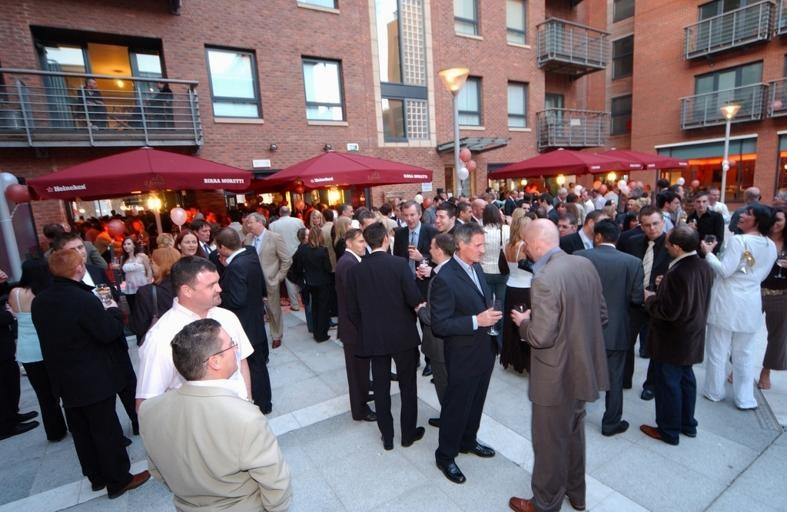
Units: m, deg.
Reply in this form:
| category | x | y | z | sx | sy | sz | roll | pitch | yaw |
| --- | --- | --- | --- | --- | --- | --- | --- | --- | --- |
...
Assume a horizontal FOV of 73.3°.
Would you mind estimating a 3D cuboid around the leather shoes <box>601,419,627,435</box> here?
| category | x | y | z | sx | sy | sz | roll | pitch | yaw |
| --- | --- | --- | --- | --- | --- | --- | --- | --- | --- |
| leather shoes | 3.769 | 2.912 | 9.071 | 0.524 | 0.229 | 0.184 | -13 | 11 | -19 |

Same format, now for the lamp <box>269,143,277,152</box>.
| category | x | y | z | sx | sy | sz | roll | pitch | yaw |
| --- | --- | --- | --- | --- | --- | --- | --- | --- | --- |
| lamp | -3.787 | -3.436 | 16.672 | 0.236 | 0.228 | 0.136 | -1 | 5 | -38 |

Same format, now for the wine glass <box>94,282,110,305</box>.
| category | x | y | z | sx | sy | sz | roll | pitch | yaw |
| --- | --- | --- | --- | --- | --- | --- | --- | --- | --- |
| wine glass | -4.717 | 0.647 | 8.577 | 0.288 | 0.368 | 0.146 | 0 | 13 | 20 |

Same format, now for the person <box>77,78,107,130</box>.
| category | x | y | z | sx | sy | sz | roll | pitch | yaw |
| --- | --- | --- | --- | --- | --- | --- | --- | --- | --- |
| person | -8.270 | -4.214 | 14.485 | 0.677 | 1.478 | 1.505 | -11 | 13 | -28 |

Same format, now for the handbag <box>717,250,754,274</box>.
| category | x | y | z | sx | sy | sz | roll | pitch | yaw |
| --- | --- | --- | --- | --- | --- | --- | --- | --- | --- |
| handbag | 5.965 | 0.056 | 9.271 | 0.332 | 0.596 | 0.460 | -9 | 11 | -31 |

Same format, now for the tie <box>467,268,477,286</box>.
| category | x | y | z | sx | sy | sz | roll | pitch | yaw |
| --- | --- | --- | --- | --- | --- | --- | --- | --- | --- |
| tie | 1.265 | 0.338 | 8.459 | 0.091 | 0.248 | 0.188 | -18 | -5 | -41 |

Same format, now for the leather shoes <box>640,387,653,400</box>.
| category | x | y | z | sx | sy | sz | roll | pitch | yaw |
| --- | --- | --- | --- | --- | --- | --- | --- | --- | --- |
| leather shoes | 4.572 | 2.511 | 9.596 | 0.221 | 0.203 | 0.156 | 8 | -12 | 5 |

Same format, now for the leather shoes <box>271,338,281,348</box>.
| category | x | y | z | sx | sy | sz | roll | pitch | yaw |
| --- | --- | --- | --- | --- | --- | --- | --- | --- | --- |
| leather shoes | -2.594 | 1.924 | 11.682 | 0.197 | 0.151 | 0.369 | -1 | -9 | -11 |

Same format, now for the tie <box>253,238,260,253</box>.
| category | x | y | z | sx | sy | sz | roll | pitch | yaw |
| --- | --- | --- | --- | --- | --- | --- | --- | --- | --- |
| tie | -3.008 | -0.247 | 11.655 | 0.070 | 0.296 | 0.231 | 4 | 7 | -40 |

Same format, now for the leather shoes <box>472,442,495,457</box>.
| category | x | y | z | sx | sy | sz | roll | pitch | yaw |
| --- | --- | --- | --- | --- | --- | --- | --- | --- | --- |
| leather shoes | 1.489 | 3.225 | 8.840 | 0.467 | 0.192 | 0.170 | -3 | 13 | 17 |

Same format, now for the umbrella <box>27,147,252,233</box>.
| category | x | y | z | sx | sy | sz | roll | pitch | yaw |
| --- | --- | --- | --- | --- | --- | --- | --- | --- | --- |
| umbrella | -5.658 | -1.697 | 11.318 | 2.740 | 1.005 | 2.758 | -1 | 10 | 9 |

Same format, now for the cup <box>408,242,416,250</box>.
| category | x | y | z | sx | sy | sz | roll | pitch | yaw |
| --- | --- | --- | --- | --- | --- | --- | --- | --- | --- |
| cup | 0.392 | -0.210 | 11.142 | 0.155 | 0.113 | 0.157 | 0 | -2 | 0 |
